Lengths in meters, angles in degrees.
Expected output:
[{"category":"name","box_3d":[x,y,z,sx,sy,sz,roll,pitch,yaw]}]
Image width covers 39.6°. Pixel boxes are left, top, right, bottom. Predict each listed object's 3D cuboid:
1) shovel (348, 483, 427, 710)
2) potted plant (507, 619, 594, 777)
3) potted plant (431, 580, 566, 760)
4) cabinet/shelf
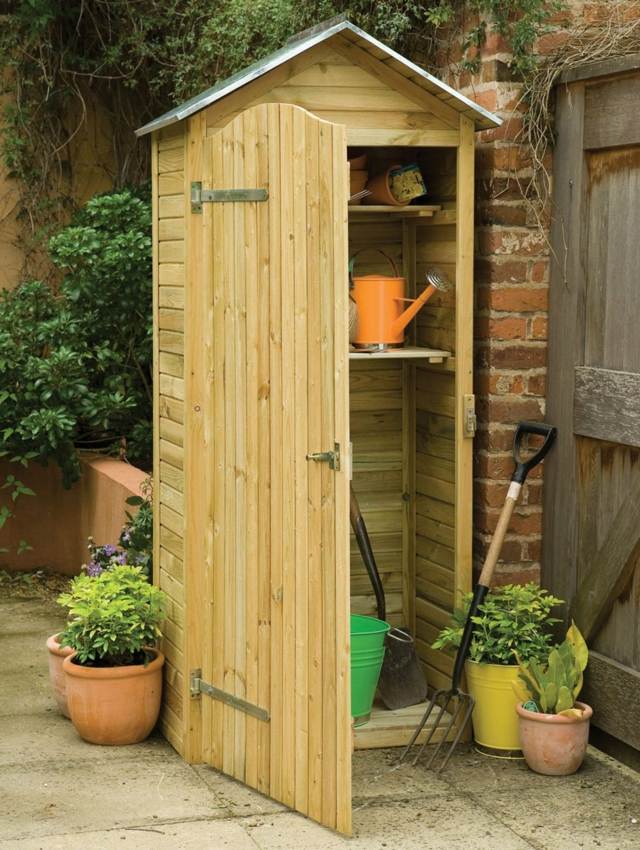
[{"category":"shovel","box_3d":[0.265,0.653,3.404,0.277,0.813,0.289,-3,11,-25]},{"category":"potted plant","box_3d":[0.752,0.883,2.880,0.232,0.479,0.225,2,7,12]},{"category":"potted plant","box_3d":[0.602,0.775,3.139,0.415,0.575,0.426,-2,11,-27]},{"category":"cabinet/shelf","box_3d":[0.273,-0.520,3.239,0.400,0.520,0.298,-3,13,-16]}]
